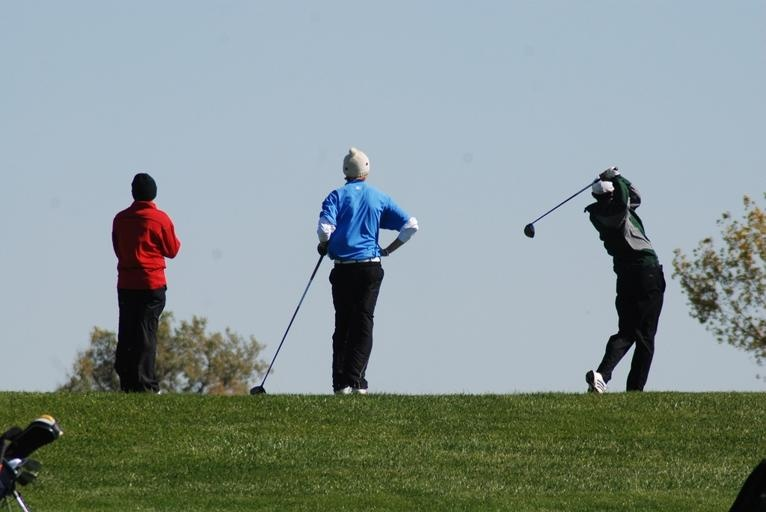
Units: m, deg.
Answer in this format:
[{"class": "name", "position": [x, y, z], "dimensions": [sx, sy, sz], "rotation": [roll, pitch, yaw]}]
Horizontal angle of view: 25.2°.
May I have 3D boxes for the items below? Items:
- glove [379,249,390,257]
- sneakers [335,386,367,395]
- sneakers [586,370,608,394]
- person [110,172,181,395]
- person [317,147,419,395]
[{"class": "glove", "position": [0.045, -0.086, 20.781], "dimensions": [0.126, 0.070, 0.165], "rotation": [0, -2, 1]}, {"class": "sneakers", "position": [-0.374, 1.704, 22.535], "dimensions": [0.411, 0.114, 0.155], "rotation": [4, -8, -3]}, {"class": "sneakers", "position": [2.866, 1.617, 22.878], "dimensions": [0.257, 0.277, 0.179], "rotation": [3, -8, 4]}, {"class": "person", "position": [-3.157, 0.309, 22.910], "dimensions": [0.840, 2.920, 0.368], "rotation": [4, -8, -8]}, {"class": "person", "position": [-0.258, 0.143, 22.591], "dimensions": [1.121, 3.234, 0.465], "rotation": [3, -8, 0]}]
